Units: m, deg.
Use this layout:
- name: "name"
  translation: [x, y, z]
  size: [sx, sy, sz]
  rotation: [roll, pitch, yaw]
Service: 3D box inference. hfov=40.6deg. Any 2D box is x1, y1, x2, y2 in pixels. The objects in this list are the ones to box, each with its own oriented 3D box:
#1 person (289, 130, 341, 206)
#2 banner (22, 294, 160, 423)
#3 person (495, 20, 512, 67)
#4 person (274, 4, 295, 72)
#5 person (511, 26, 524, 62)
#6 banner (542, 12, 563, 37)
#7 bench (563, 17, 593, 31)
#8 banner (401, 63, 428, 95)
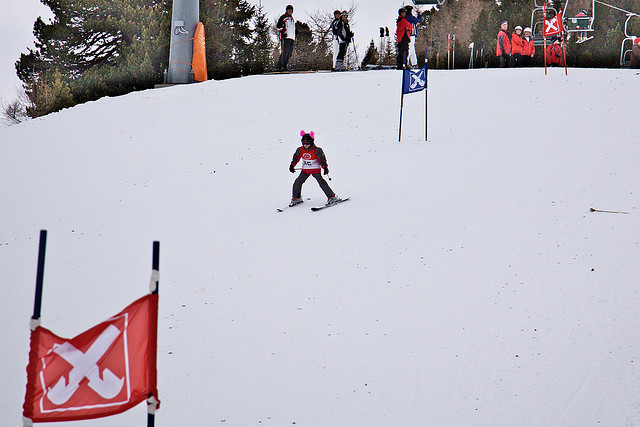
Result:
- name: "person"
  translation: [-0.205, -1.152, 21.244]
  size: [1.192, 2.044, 0.707]
  rotation: [1, 25, 6]
- name: "banner"
  translation: [-4.293, 2.807, 16.234]
  size: [2.084, 2.686, 0.353]
  rotation: [1, 4, -3]
- name: "person"
  translation: [6.162, -5.601, 28.815]
  size: [0.479, 1.734, 2.620]
  rotation: [3, 18, 12]
- name: "person"
  translation: [-1.141, -5.648, 28.127]
  size: [0.528, 2.259, 1.592]
  rotation: [-1, 16, -3]
- name: "person"
  translation: [6.642, -5.685, 29.126]
  size: [0.413, 1.263, 0.956]
  rotation: [3, 17, 13]
- name: "banner"
  translation: [6.706, -5.409, 24.838]
  size: [0.494, 0.774, 1.139]
  rotation: [1, 18, 4]
- name: "bench"
  translation: [8.187, -5.978, 27.414]
  size: [0.949, 0.440, 0.612]
  rotation: [2, 18, 6]
- name: "banner"
  translation: [2.498, -3.537, 22.687]
  size: [0.713, 0.957, 0.047]
  rotation: [-6, -23, 28]
